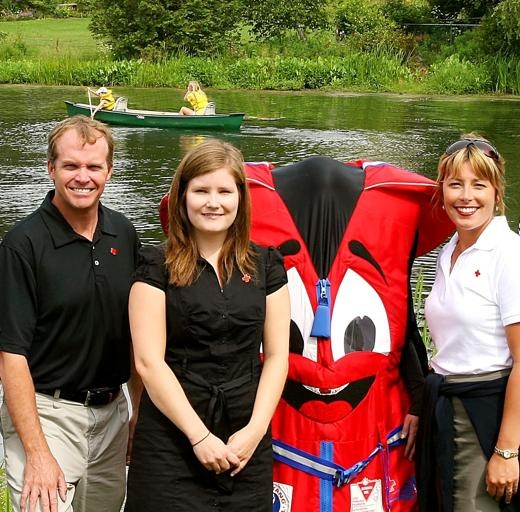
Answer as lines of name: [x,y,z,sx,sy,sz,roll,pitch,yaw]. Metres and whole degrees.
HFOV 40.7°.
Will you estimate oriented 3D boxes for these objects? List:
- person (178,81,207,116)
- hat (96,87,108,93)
person: [-2.186,-4.938,22.895,0.882,1.191,0.582,12,10,21]
hat: [-5.096,-5.328,22.545,0.449,0.216,0.281,-3,16,-14]
